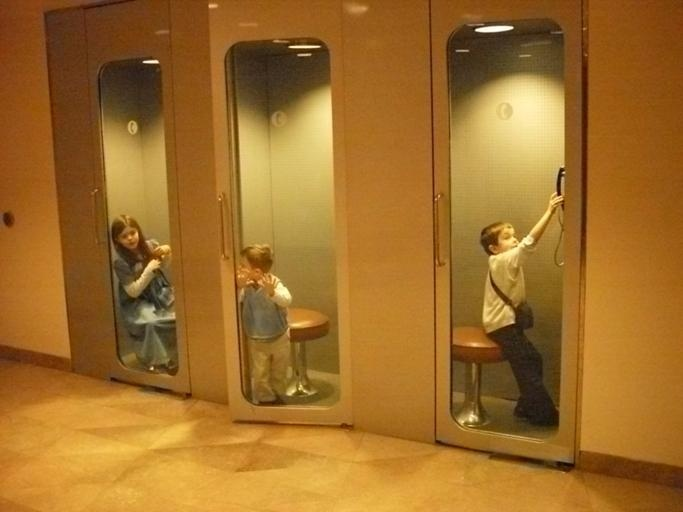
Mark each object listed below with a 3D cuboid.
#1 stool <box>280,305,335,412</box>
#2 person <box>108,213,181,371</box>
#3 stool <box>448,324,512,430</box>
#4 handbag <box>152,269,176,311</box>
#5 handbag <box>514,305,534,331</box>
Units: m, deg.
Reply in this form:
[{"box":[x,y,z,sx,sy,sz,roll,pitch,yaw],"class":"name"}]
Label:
[{"box":[-0.249,0.582,3.848,0.348,0.420,0.370,3,4,41],"class":"stool"},{"box":[-1.307,0.249,4.306,0.454,1.047,0.149,3,7,28],"class":"person"},{"box":[0.738,0.664,3.586,0.304,0.466,0.300,0,1,-43],"class":"stool"},{"box":[-1.200,0.235,4.323,0.148,0.255,0.100,-32,-28,-4],"class":"handbag"},{"box":[0.951,0.312,3.363,0.102,0.120,0.032,7,3,8],"class":"handbag"}]
